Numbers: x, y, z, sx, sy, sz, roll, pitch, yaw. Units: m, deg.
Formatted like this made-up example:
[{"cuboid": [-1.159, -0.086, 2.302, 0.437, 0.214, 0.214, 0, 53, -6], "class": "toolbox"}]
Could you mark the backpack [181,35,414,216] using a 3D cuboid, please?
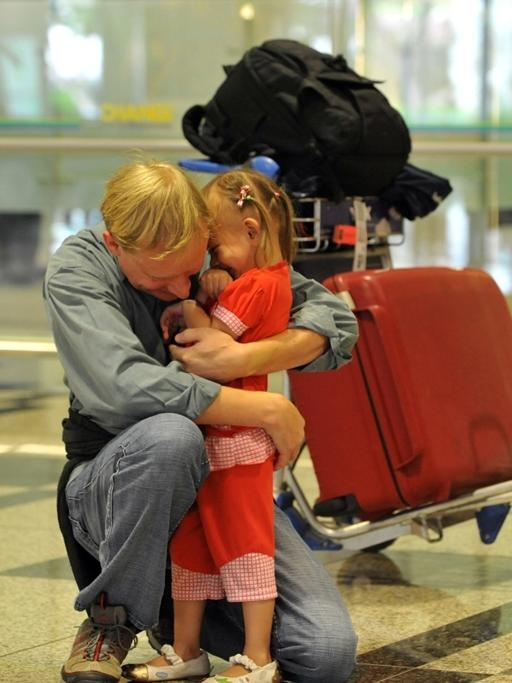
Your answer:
[{"cuboid": [0.078, -0.498, 1.661, 0.497, 0.311, 0.367, 28, 31, 18], "class": "backpack"}]

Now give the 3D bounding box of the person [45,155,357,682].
[{"cuboid": [-0.077, 0.142, 1.196, 0.542, 0.875, 0.328, -1, 3, -14], "class": "person"}]
